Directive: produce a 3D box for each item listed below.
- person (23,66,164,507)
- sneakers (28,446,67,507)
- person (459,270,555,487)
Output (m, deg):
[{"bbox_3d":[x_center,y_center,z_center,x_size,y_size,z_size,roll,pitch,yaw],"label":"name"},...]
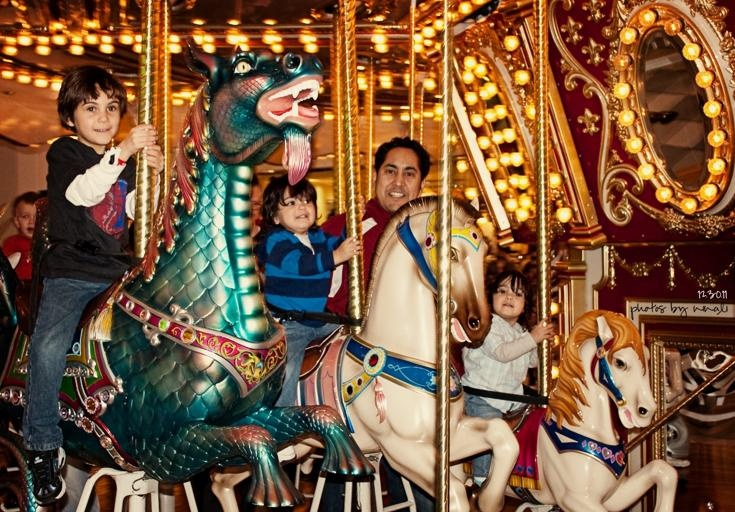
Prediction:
[{"bbox_3d":[-1.337,0.124,3.482,0.800,2.109,0.473,-8,-13,36],"label":"person"},{"bbox_3d":[-1.540,1.052,3.502,0.115,0.157,0.332,-6,20,-21],"label":"sneakers"},{"bbox_3d":[0.825,0.700,4.304,0.593,1.254,0.653,3,-11,-15],"label":"person"}]
